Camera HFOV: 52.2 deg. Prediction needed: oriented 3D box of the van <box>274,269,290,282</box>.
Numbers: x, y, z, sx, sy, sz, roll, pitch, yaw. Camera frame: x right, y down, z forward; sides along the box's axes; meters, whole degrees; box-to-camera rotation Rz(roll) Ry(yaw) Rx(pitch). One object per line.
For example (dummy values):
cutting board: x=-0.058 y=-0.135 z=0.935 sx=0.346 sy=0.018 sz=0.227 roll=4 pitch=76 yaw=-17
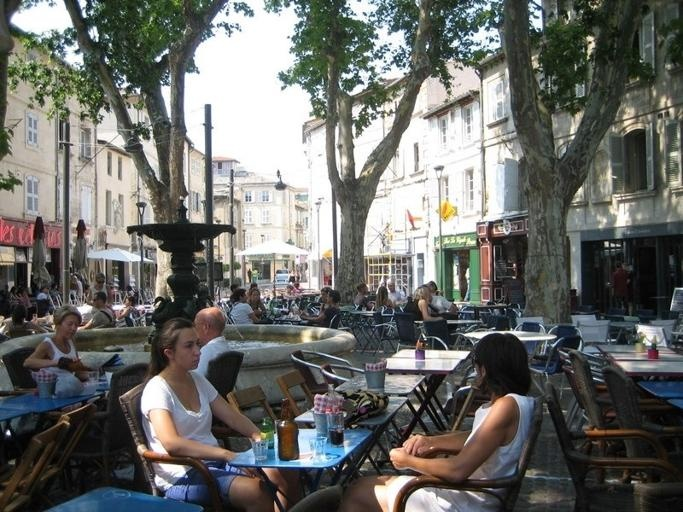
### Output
van: x=-6.996 y=2.333 z=81.370 sx=1.817 sy=2.083 sz=3.622 roll=-1 pitch=-7 yaw=1

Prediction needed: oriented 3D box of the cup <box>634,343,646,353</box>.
cup: x=3.530 y=1.077 z=8.223 sx=0.099 sy=0.083 sz=0.101 roll=0 pitch=2 yaw=0

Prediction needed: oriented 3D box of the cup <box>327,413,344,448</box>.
cup: x=-0.039 y=1.173 z=4.699 sx=0.128 sy=0.227 sz=0.134 roll=-2 pitch=-11 yaw=0

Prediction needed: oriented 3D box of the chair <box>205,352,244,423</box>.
chair: x=-1.191 y=1.237 z=7.151 sx=0.458 sy=0.812 sz=0.437 roll=1 pitch=1 yaw=31

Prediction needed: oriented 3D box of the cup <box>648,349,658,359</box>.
cup: x=3.428 y=1.074 z=7.655 sx=0.091 sy=0.095 sz=0.097 roll=0 pitch=5 yaw=0

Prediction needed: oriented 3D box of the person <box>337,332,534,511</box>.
person: x=0.701 y=1.165 z=5.256 sx=1.378 sy=1.952 sz=0.842 roll=2 pitch=-3 yaw=15

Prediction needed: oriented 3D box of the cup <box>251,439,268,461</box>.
cup: x=-0.520 y=1.235 z=4.449 sx=0.105 sy=0.121 sz=0.111 roll=-1 pitch=-3 yaw=0

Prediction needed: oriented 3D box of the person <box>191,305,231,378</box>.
person: x=-1.351 y=0.903 z=7.299 sx=0.350 sy=0.687 sz=0.759 roll=1 pitch=-1 yaw=8

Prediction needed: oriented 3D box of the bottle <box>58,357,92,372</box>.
bottle: x=-2.555 y=1.045 z=6.648 sx=0.209 sy=0.074 sz=0.155 roll=26 pitch=-13 yaw=-29

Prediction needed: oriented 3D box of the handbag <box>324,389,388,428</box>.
handbag: x=0.155 y=1.148 z=5.624 sx=0.514 sy=0.169 sz=0.567 roll=-2 pitch=14 yaw=11

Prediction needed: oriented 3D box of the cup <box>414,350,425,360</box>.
cup: x=0.871 y=1.092 z=7.722 sx=0.095 sy=0.106 sz=0.101 roll=1 pitch=3 yaw=0

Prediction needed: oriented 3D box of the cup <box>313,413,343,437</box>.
cup: x=-0.098 y=1.132 z=4.711 sx=0.169 sy=0.129 sz=0.154 roll=0 pitch=-6 yaw=0

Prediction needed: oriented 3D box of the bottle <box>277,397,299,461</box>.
bottle: x=-0.346 y=1.116 z=4.492 sx=0.145 sy=0.358 sz=0.262 roll=-1 pitch=-4 yaw=-5
